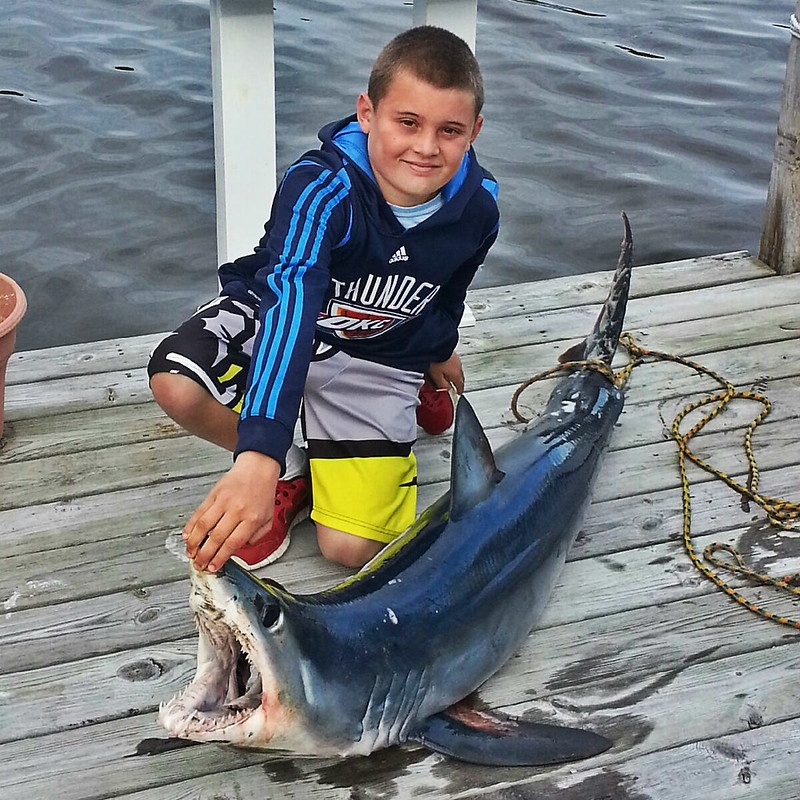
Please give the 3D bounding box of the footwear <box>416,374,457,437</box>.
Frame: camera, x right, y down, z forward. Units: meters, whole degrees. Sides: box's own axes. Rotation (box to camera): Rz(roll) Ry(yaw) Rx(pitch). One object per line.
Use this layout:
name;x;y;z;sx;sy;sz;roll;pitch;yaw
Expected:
footwear;0.122;0.021;3.161;0.109;0.206;0.079;-27;53;-16
